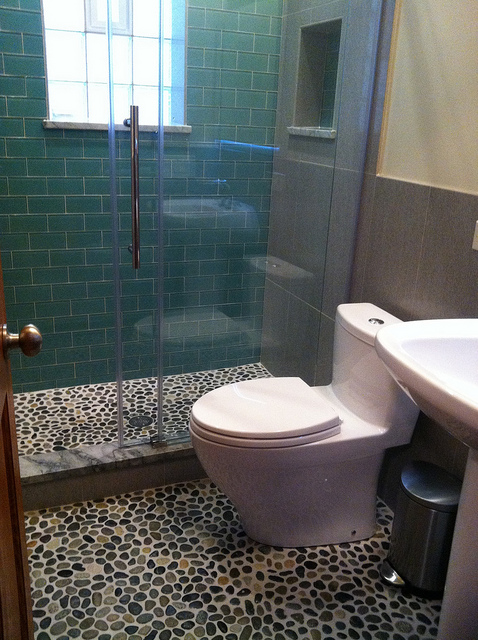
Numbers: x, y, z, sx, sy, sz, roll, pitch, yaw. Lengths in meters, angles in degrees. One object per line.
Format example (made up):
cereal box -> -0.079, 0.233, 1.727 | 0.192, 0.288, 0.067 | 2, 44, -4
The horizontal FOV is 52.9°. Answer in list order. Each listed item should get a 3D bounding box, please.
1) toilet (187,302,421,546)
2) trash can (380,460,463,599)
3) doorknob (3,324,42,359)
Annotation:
toilet -> 0.179, 0.296, 1.856 | 0.895, 0.925, 0.571 | -4, 19, -12
trash can -> 0.544, 0.625, 1.409 | 0.177, 0.349, 0.204 | -7, 15, -38
doorknob -> -0.237, 0.025, 0.534 | 0.047, 0.020, 0.028 | -3, 35, 2
